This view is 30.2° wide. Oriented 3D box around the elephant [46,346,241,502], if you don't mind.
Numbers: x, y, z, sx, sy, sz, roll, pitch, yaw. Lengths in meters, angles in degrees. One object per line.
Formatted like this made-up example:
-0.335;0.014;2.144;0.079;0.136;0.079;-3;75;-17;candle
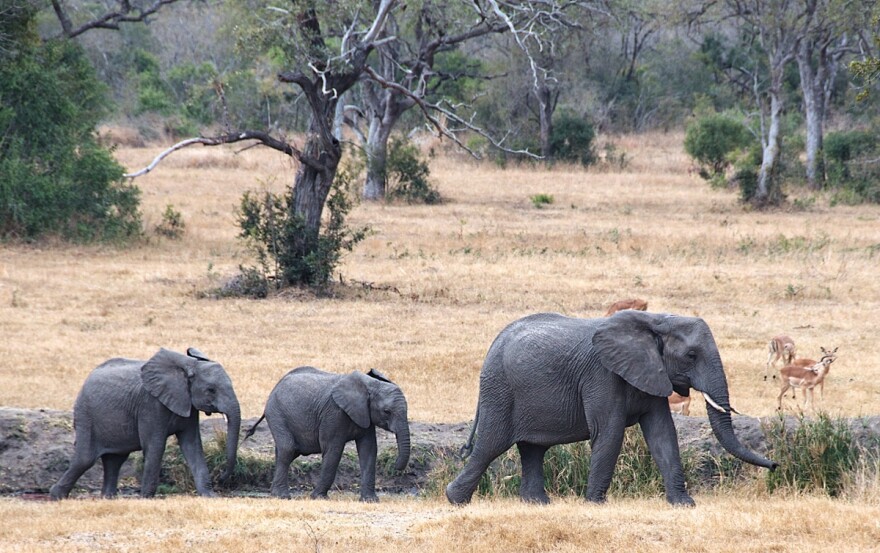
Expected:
-9.954;5.280;55.480;5.994;5.563;2.781;-2;2;1;elephant

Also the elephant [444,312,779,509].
5.555;4.426;54.114;10.539;7.085;4.931;-1;10;13;elephant

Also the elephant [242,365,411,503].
-3.760;5.402;55.826;5.436;4.918;2.589;4;9;12;elephant
